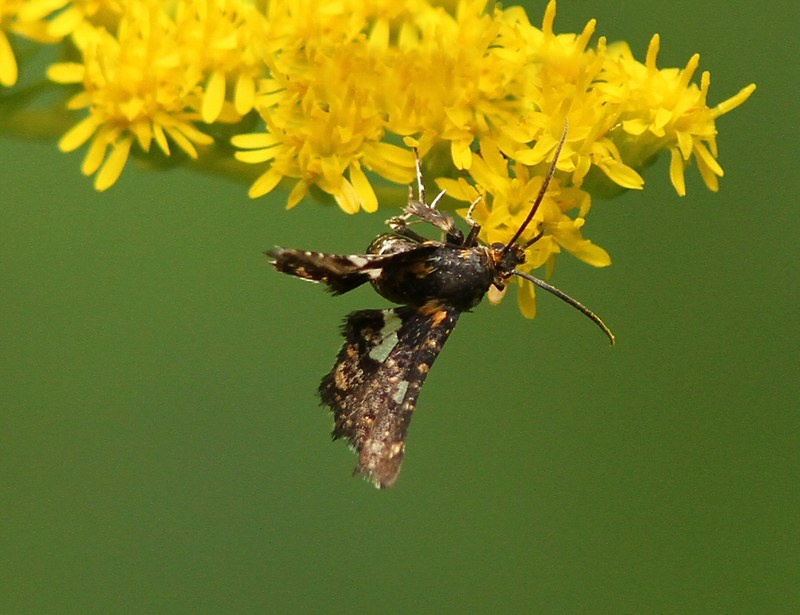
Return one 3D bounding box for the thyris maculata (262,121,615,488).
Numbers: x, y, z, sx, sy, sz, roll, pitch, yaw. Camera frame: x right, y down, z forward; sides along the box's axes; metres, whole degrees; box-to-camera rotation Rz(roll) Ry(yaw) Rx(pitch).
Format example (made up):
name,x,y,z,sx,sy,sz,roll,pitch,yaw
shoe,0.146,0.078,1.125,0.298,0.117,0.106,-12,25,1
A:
name,x,y,z,sx,sy,sz,roll,pitch,yaw
thyris maculata,0.053,-0.001,1.446,0.372,0.425,0.319,-5,-55,16
